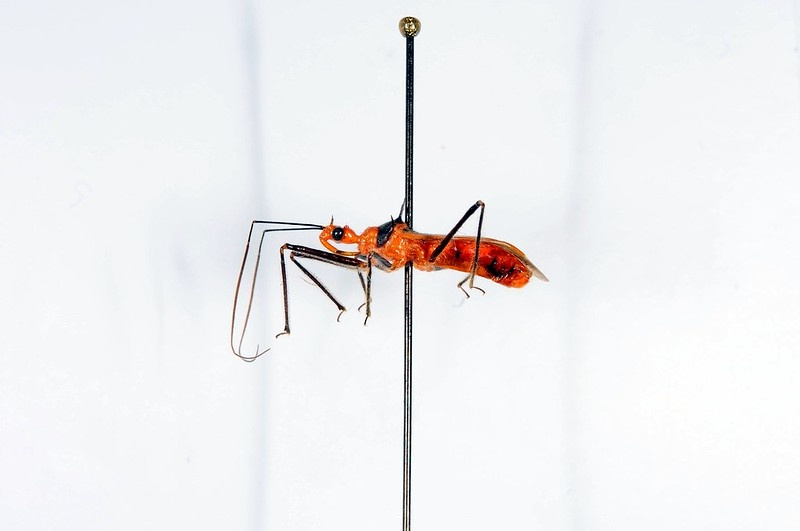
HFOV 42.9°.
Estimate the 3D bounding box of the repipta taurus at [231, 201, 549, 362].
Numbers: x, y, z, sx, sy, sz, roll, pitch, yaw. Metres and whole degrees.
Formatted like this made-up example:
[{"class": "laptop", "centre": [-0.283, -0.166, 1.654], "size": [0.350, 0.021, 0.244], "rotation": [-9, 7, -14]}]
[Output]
[{"class": "repipta taurus", "centre": [-0.022, 0.031, 2.242], "size": [0.663, 0.229, 0.328], "rotation": [-2, -95, 1]}]
